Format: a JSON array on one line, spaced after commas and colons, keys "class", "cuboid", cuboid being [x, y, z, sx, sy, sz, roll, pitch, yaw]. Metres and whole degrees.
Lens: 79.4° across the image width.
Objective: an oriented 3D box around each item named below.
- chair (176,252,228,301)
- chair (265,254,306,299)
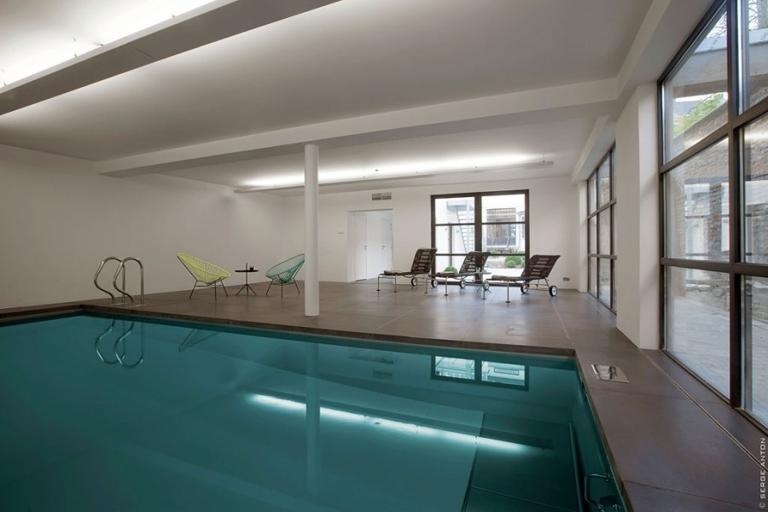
[{"class": "chair", "cuboid": [-3.913, 0.441, 10.079, 0.983, 0.831, 0.832, 6, 9, -22]}, {"class": "chair", "cuboid": [-2.328, 0.360, 10.903, 1.175, 1.093, 1.247, -1, 2, -21]}]
